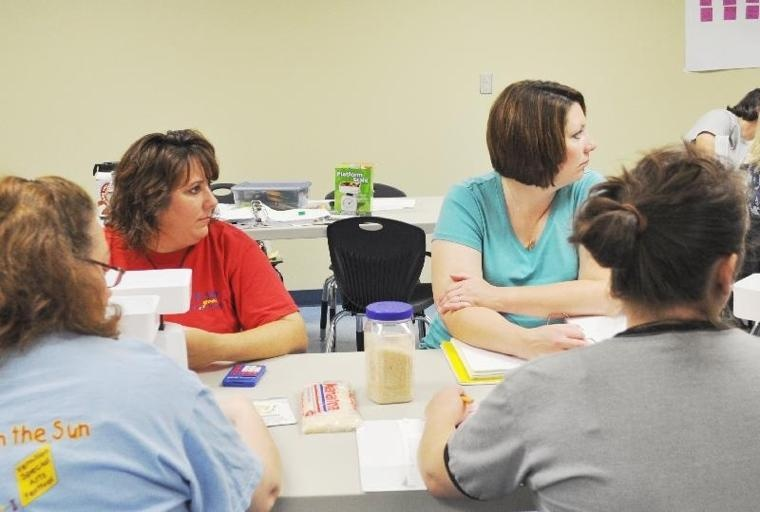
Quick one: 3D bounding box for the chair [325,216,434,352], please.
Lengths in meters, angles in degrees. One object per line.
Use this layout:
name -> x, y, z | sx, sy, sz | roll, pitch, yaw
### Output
chair -> -0.005, 0.182, 3.098 | 0.565, 0.785, 0.561 | 0, 10, -3

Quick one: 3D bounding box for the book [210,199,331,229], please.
book -> -0.528, -0.205, 3.312 | 0.428, 0.091, 0.254 | 3, 4, -18

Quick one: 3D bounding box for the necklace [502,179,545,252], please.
necklace -> 0.463, -0.134, 2.016 | 0.138, 0.213, 0.052 | -11, 25, 10

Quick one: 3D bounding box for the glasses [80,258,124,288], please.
glasses -> -0.523, 0.034, 1.217 | 0.059, 0.016, 0.058 | 15, -1, 21
